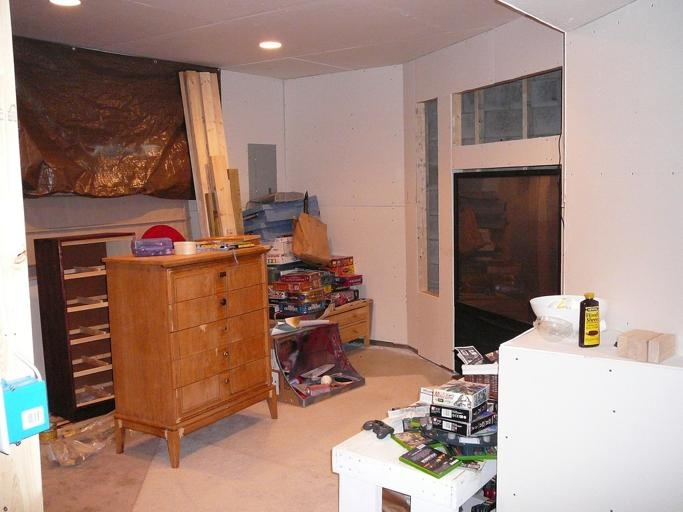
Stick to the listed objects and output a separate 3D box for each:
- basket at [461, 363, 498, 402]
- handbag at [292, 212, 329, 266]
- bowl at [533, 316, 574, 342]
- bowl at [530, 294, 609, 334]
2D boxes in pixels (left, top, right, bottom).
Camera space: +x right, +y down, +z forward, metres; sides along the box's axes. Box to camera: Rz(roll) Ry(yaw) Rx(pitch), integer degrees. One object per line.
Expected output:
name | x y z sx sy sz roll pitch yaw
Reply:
basket | 0.766 0.674 2.927 0.195 0.195 0.202 6 15 17
handbag | -0.376 -0.172 6.013 0.211 0.551 0.546 -15 -21 42
bowl | 1.036 0.355 2.575 0.138 0.077 0.118 2 2 12
bowl | 1.149 0.270 2.705 0.253 0.095 0.248 -3 5 0
